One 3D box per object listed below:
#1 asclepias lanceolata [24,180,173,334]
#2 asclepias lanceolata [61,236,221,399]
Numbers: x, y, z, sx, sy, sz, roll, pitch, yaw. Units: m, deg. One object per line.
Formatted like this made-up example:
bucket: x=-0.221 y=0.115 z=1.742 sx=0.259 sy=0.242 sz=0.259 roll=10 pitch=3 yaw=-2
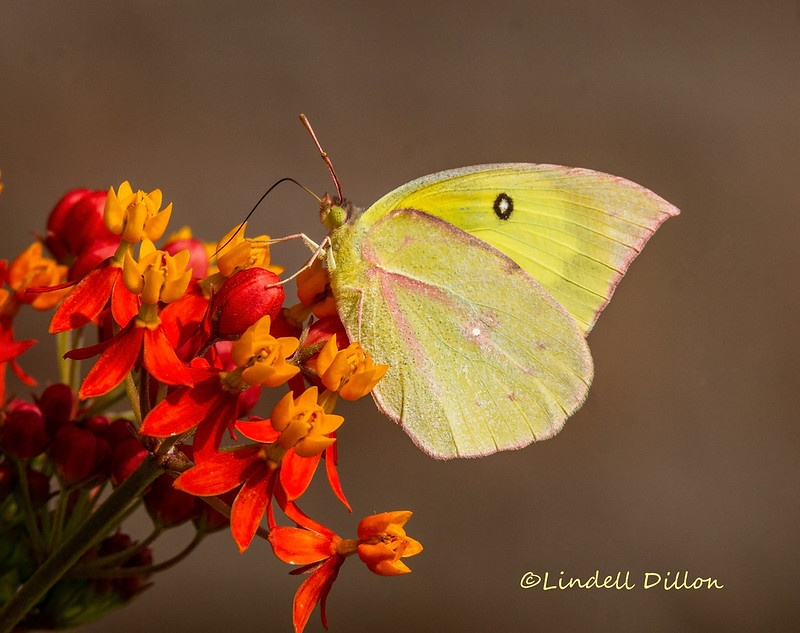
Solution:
asclepias lanceolata: x=-0.430 y=-0.076 z=1.443 sx=0.142 sy=0.199 sz=0.119 roll=33 pitch=7 yaw=13
asclepias lanceolata: x=-0.356 y=-0.004 z=1.386 sx=0.224 sy=0.227 sz=0.154 roll=18 pitch=-68 yaw=-12
